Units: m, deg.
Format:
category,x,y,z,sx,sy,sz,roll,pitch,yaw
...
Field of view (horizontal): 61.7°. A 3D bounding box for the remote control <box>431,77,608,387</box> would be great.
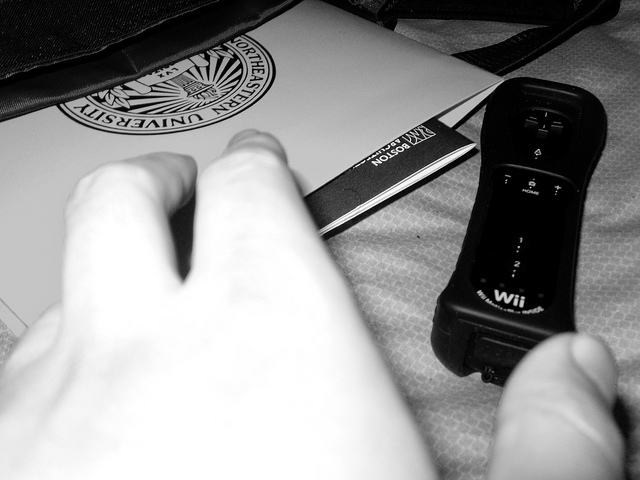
category,x,y,z,sx,sy,sz,roll,pitch,yaw
remote control,0.124,-0.015,0.326,0.086,0.058,0.231,14,55,14
